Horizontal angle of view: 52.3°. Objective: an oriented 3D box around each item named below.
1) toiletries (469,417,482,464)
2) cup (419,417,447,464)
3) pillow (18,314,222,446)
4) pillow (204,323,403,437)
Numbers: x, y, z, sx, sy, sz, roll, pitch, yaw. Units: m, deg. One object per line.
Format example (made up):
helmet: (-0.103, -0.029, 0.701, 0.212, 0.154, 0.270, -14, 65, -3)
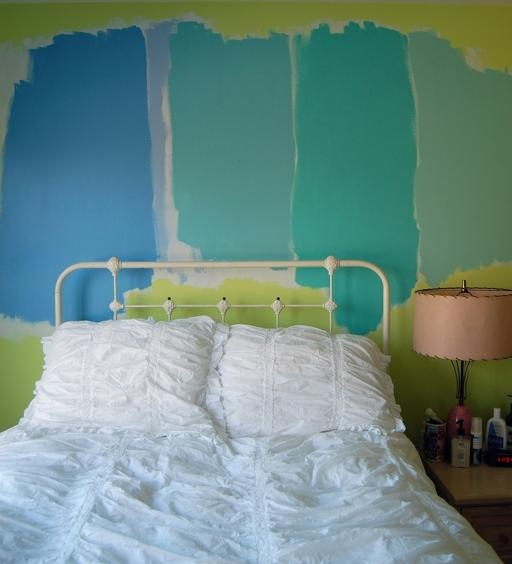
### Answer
toiletries: (0.878, 0.640, 2.065, 0.046, 0.174, 0.044, 13, -11, -24)
cup: (0.715, 0.641, 2.100, 0.082, 0.150, 0.088, 3, -10, 0)
pillow: (-0.450, 0.278, 1.713, 0.424, 0.468, 0.110, 0, -23, 7)
pillow: (0.153, 0.339, 1.807, 0.508, 0.408, 0.144, 0, -45, 2)
